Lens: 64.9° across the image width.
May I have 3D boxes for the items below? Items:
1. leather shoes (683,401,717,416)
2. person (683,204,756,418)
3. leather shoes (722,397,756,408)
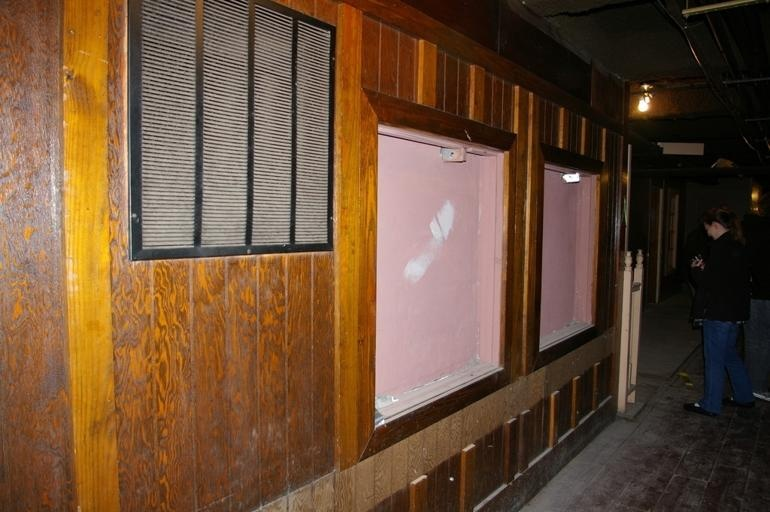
[{"bbox_3d":[3.054,1.468,5.848,0.099,0.108,0.266,-12,19,-39],"label":"leather shoes"},{"bbox_3d":[3.187,0.526,5.766,0.560,1.956,0.495,1,8,32],"label":"person"},{"bbox_3d":[3.506,1.415,5.992,0.300,0.093,0.109,-2,-1,44],"label":"leather shoes"}]
